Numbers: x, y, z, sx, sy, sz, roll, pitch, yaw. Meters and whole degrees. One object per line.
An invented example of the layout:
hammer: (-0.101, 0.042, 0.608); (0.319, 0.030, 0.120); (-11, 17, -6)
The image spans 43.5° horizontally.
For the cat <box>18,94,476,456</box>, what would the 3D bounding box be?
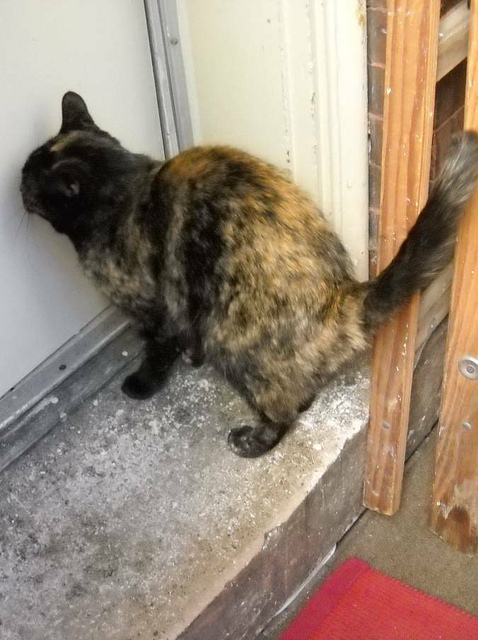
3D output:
cat: (0.016, -0.132, 1.543); (0.903, 0.647, 0.289); (30, 54, 18)
